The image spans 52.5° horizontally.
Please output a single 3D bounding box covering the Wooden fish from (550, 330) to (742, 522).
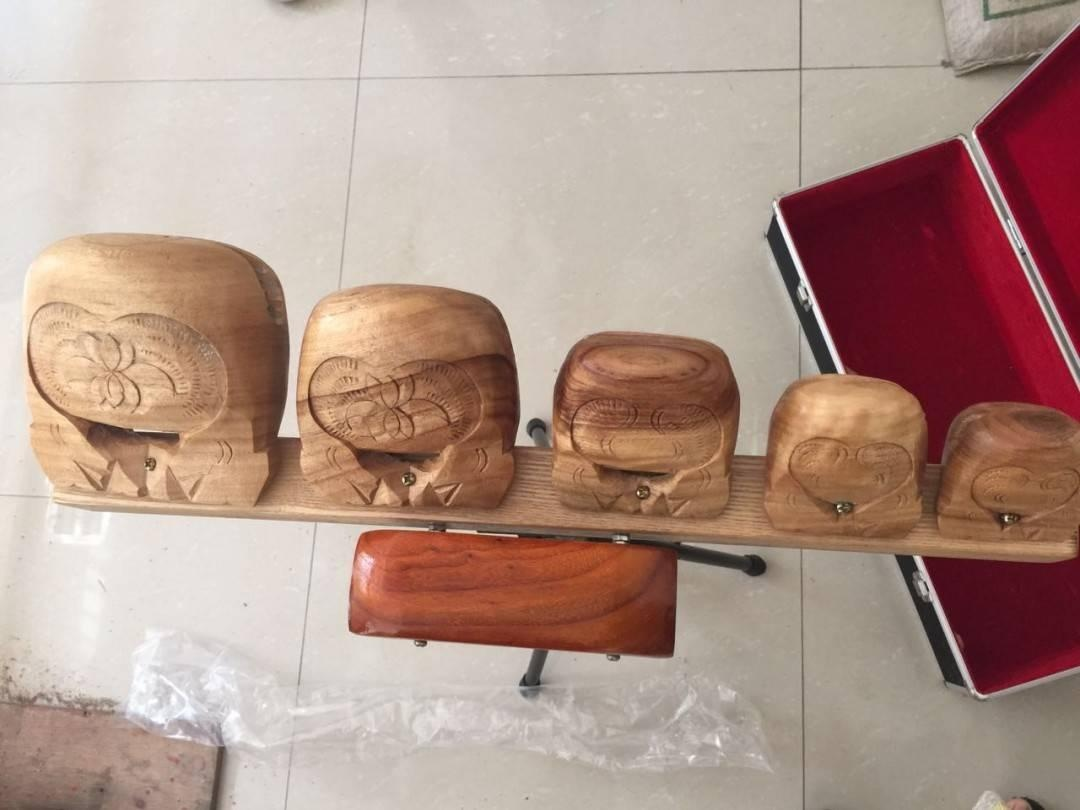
[{"bbox_3d":[0.169,0.036,1.754,0.281,0.190,0.247,5,74,7],"label":"Wooden fish"}]

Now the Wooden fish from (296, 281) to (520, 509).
[{"bbox_3d":[-0.214,-0.007,1.766,0.340,0.225,0.309,3,74,6],"label":"Wooden fish"}]

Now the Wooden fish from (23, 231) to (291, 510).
[{"bbox_3d":[-0.613,-0.047,1.752,0.425,0.401,0.163,7,33,-1],"label":"Wooden fish"}]

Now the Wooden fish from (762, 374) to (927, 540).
[{"bbox_3d":[0.486,0.083,1.743,0.246,0.162,0.230,2,74,6],"label":"Wooden fish"}]

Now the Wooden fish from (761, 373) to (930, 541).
[{"bbox_3d":[0.493,0.092,1.782,0.269,0.157,0.235,3,103,6],"label":"Wooden fish"}]

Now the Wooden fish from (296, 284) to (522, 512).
[{"bbox_3d":[-0.208,-0.003,1.801,0.384,0.139,0.349,0,95,17],"label":"Wooden fish"}]
